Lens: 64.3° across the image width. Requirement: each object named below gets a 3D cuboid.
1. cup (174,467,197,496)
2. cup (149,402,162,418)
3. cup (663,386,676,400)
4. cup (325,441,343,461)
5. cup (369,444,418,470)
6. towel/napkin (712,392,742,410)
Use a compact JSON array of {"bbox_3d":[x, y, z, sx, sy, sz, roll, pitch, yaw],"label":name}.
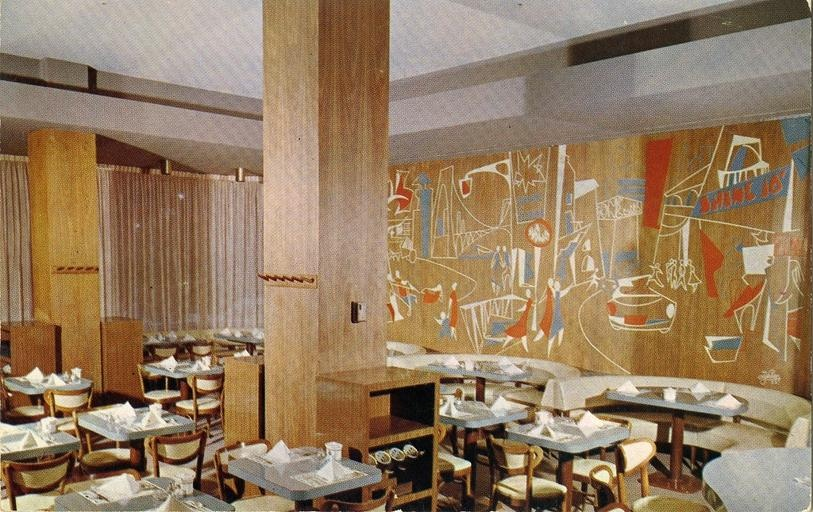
[{"bbox_3d":[-1.724,1.785,5.119,0.149,0.150,0.179,-4,-5,20],"label":"cup"},{"bbox_3d":[-2.600,1.597,6.720,0.139,0.138,0.137,0,4,0],"label":"cup"},{"bbox_3d":[2.985,1.561,7.307,0.145,0.105,0.115,-3,-4,30],"label":"cup"},{"bbox_3d":[-0.587,1.565,5.205,0.154,0.134,0.141,0,-1,0],"label":"cup"},{"bbox_3d":[-0.103,1.675,5.490,0.325,0.101,0.212,-11,4,-22],"label":"cup"},{"bbox_3d":[3.539,1.595,7.103,0.256,0.126,0.280,-4,-6,27],"label":"towel/napkin"}]
